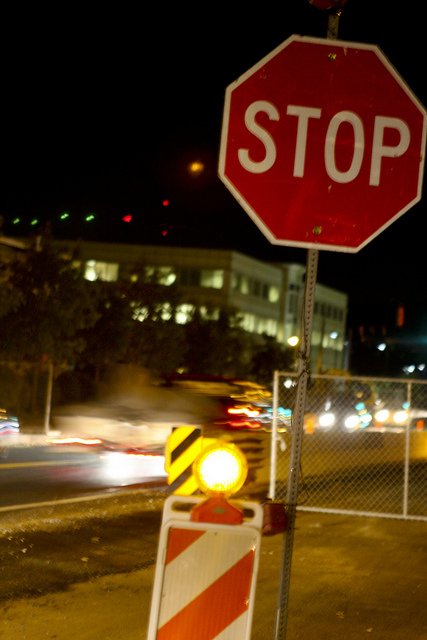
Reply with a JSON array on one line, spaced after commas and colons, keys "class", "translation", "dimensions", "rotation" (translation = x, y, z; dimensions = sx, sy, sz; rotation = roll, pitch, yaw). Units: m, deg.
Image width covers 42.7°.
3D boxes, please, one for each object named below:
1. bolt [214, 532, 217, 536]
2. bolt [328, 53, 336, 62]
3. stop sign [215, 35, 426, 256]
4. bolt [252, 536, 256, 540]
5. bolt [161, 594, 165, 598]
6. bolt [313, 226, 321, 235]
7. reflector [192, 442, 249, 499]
[{"class": "bolt", "translation": [0.007, 0.711, 1.816], "dimensions": [0.011, 0.011, 0.003], "rotation": [-1, -4, -10]}, {"class": "bolt", "translation": [0.414, -0.905, 1.877], "dimensions": [0.019, 0.029, 0.010], "rotation": [9, -1, 3]}, {"class": "stop sign", "translation": [0.345, -0.585, 1.834], "dimensions": [0.874, 0.975, 0.095], "rotation": [-2, 2, -7]}, {"class": "bolt", "translation": [0.136, 0.725, 1.818], "dimensions": [0.006, 0.013, 0.016], "rotation": [7, -8, -40]}, {"class": "bolt", "translation": [-0.168, 0.915, 1.809], "dimensions": [0.014, 0.014, 0.003], "rotation": [8, -6, -6]}, {"class": "bolt", "translation": [0.353, -0.311, 1.861], "dimensions": [0.028, 0.030, 0.007], "rotation": [9, 3, 16]}, {"class": "reflector", "translation": [0.022, 0.480, 1.772], "dimensions": [0.165, 0.166, 0.059], "rotation": [2, -6, -5]}]
